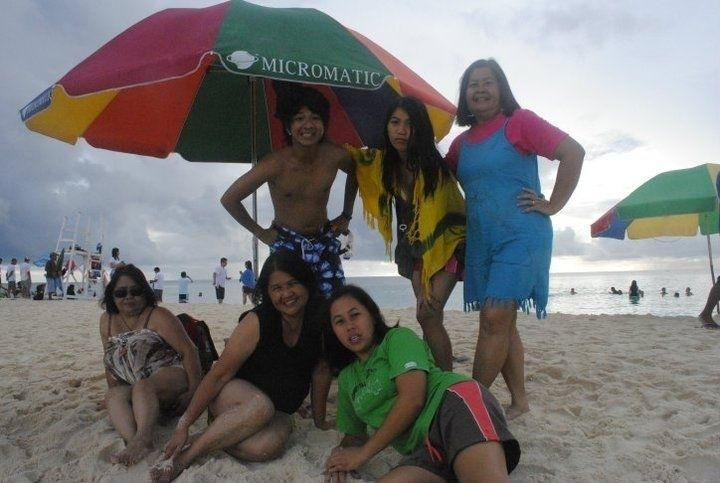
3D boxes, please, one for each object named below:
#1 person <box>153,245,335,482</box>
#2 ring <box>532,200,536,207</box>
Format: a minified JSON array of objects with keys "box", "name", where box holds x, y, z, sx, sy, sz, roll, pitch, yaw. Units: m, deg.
[{"box":[-0.925,1.155,4.379,1.617,1.545,0.880,1,7,-37],"name":"person"},{"box":[1.473,-0.314,4.413,0.033,0.051,0.017,0,-12,21],"name":"ring"}]
